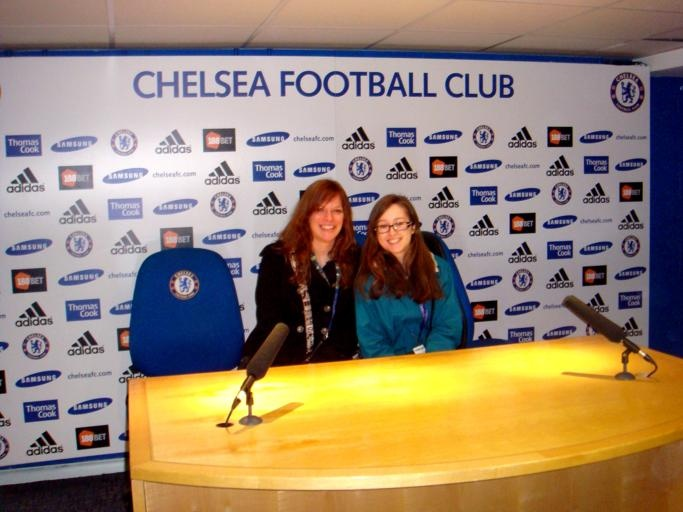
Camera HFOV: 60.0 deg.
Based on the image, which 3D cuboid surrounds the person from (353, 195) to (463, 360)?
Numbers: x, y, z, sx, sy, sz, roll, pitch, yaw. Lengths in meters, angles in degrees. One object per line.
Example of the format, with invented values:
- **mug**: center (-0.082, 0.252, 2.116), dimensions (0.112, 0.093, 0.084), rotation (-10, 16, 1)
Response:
- **person**: center (0.354, 0.166, 3.429), dimensions (0.606, 0.934, 0.751), rotation (-10, 15, -3)

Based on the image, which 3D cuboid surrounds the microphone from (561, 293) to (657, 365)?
- **microphone**: center (1.699, 0.443, 3.802), dimensions (0.126, 0.147, 0.735), rotation (-27, 51, -24)
